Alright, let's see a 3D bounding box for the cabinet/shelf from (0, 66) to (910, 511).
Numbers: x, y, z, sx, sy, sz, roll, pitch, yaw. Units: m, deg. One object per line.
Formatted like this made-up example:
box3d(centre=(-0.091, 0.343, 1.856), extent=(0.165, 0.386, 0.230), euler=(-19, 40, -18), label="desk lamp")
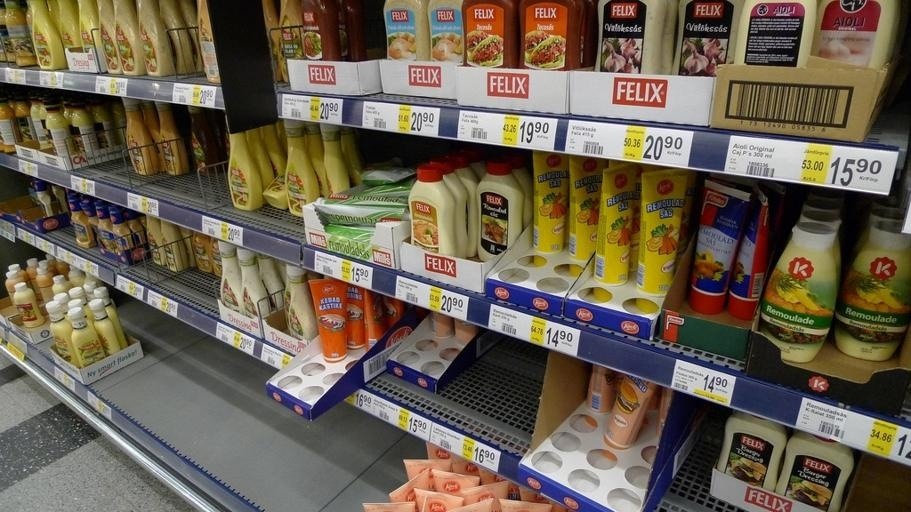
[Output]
box3d(centre=(-0.040, 0.179, 2.351), extent=(2.828, 0.569, 0.386), euler=(16, 19, 25), label="cabinet/shelf")
